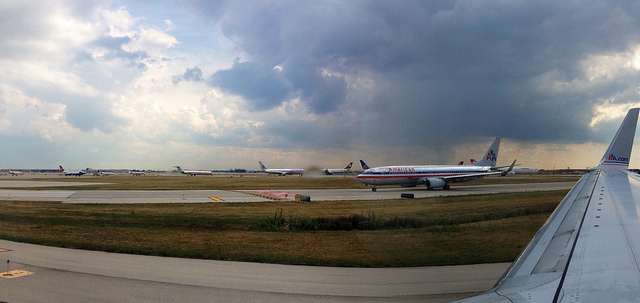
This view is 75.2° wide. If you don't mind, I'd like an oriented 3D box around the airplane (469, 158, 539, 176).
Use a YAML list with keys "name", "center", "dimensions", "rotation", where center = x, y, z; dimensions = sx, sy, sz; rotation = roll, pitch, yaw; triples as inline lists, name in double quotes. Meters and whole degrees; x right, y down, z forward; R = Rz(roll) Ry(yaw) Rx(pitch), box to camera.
- name: "airplane"
  center: [39.538, 3.969, 91.910]
  dimensions: [14.842, 3.529, 11.458]
  rotation: [-3, 6, 1]

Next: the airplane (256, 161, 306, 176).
- name: "airplane"
  center: [-14.603, 7.710, 159.710]
  dimensions: [15.062, 3.612, 12.779]
  rotation: [-3, 4, -11]
